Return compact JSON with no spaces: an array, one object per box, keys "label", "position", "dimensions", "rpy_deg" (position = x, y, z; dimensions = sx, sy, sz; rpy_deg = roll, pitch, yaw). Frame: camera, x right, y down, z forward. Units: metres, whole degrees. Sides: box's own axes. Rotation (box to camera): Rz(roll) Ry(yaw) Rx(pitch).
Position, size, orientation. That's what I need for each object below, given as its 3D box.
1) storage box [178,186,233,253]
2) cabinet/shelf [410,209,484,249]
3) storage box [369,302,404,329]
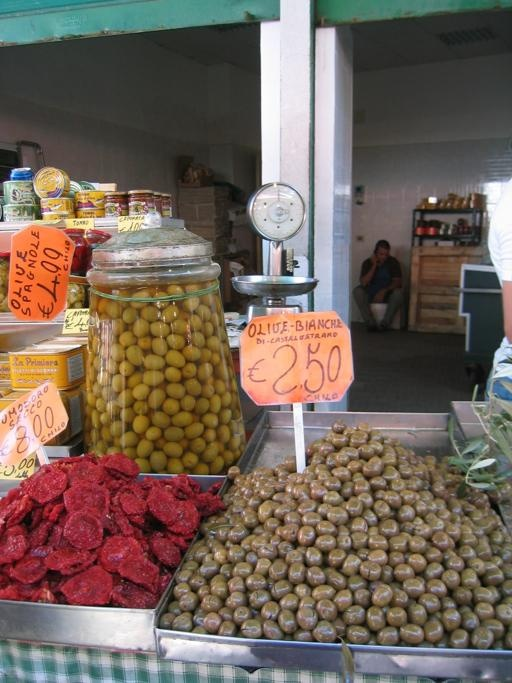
[{"label":"storage box","position":[-0.744,-1.641,7.607],"dimensions":[0.672,0.931,0.708],"rpy_deg":[0,12,7]},{"label":"cabinet/shelf","position":[2.824,-1.720,8.357],"dimensions":[0.999,0.530,0.776],"rpy_deg":[4,13,22]},{"label":"storage box","position":[1.949,-0.393,8.443],"dimensions":[0.524,0.344,0.485],"rpy_deg":[-1,-20,6]}]
